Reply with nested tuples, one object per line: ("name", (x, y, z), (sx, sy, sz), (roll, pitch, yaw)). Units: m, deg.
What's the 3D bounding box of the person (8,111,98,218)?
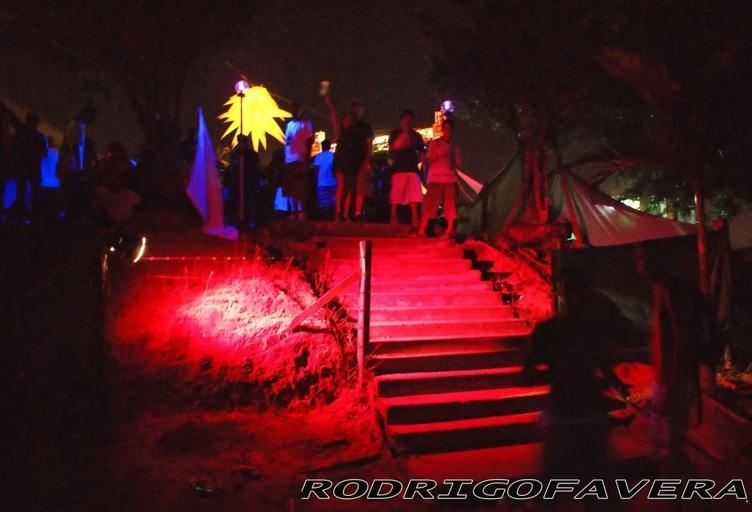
("person", (-6.236, -1.786, 10.409), (1.453, 2.075, 1.033), (-5, 8, -29))
